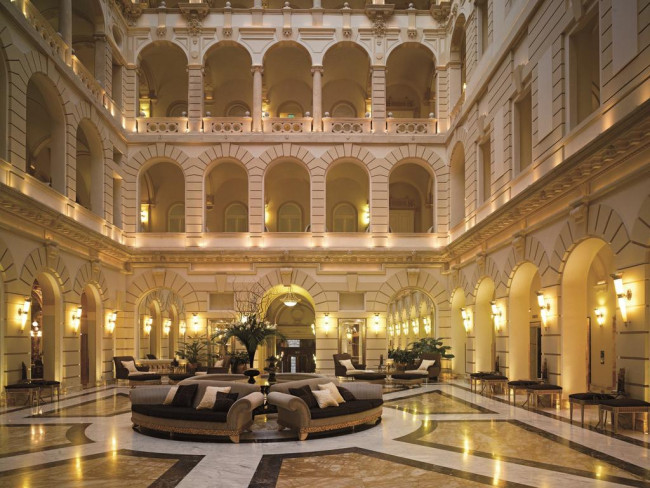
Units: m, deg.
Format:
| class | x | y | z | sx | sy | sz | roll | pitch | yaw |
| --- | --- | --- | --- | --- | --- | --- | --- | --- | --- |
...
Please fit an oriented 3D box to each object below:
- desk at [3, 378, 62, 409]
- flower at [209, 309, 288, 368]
| class | x | y | z | sx | sy | sz | roll | pitch | yaw |
| --- | --- | --- | --- | --- | --- | --- | --- | --- | --- |
| desk | -8.317 | 4.254 | 16.277 | 0.843 | 0.967 | 1.521 | -2 | -12 | 9 |
| flower | -2.029 | 2.501 | 15.140 | 1.300 | 1.250 | 1.391 | 0 | -11 | -11 |
